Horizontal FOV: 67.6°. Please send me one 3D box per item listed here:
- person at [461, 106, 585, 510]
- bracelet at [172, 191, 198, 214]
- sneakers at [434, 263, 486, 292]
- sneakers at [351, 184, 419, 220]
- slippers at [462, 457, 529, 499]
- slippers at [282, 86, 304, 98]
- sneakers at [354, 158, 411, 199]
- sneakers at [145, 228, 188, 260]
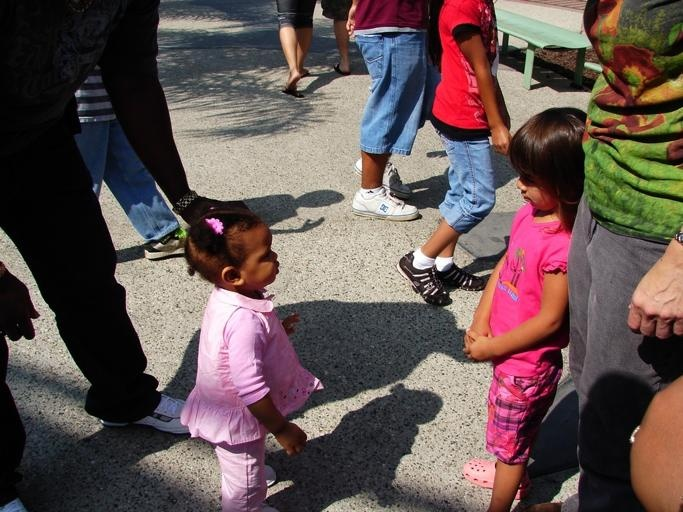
[{"bbox_3d":[0.674,0.218,1.929,0.367,1.373,0.765,8,33,14],"label":"person"},{"bbox_3d":[-0.629,-0.221,2.047,0.099,0.030,0.079,-37,27,18],"label":"bracelet"},{"bbox_3d":[0.750,0.130,3.352,0.374,0.170,0.149,2,19,-1],"label":"sneakers"},{"bbox_3d":[0.354,-0.438,4.037,0.598,0.276,0.214,3,34,-3],"label":"sneakers"},{"bbox_3d":[0.653,0.939,2.186,0.241,0.097,0.146,16,28,27],"label":"slippers"},{"bbox_3d":[-0.633,-2.077,6.536,0.328,0.087,0.118,-2,46,-32],"label":"slippers"},{"bbox_3d":[0.371,-0.623,4.301,0.528,0.228,0.168,8,2,-35],"label":"sneakers"},{"bbox_3d":[-1.184,-0.087,3.419,0.383,0.160,0.141,-6,19,-10],"label":"sneakers"}]
